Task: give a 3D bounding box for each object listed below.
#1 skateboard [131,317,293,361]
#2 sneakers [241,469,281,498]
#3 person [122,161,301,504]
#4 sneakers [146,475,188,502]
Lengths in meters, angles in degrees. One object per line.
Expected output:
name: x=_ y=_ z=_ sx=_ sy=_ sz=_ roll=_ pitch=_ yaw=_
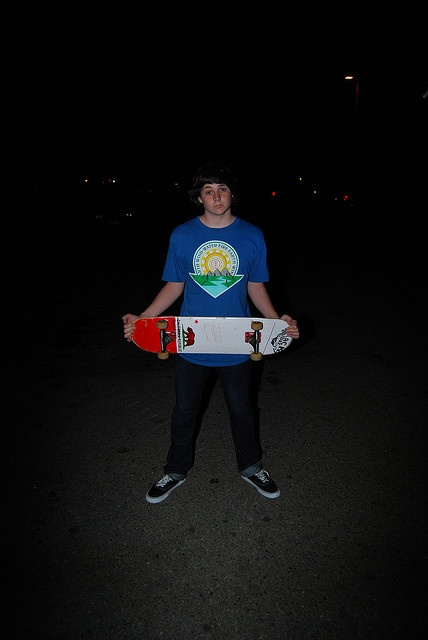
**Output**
skateboard: x=-0.002 y=0.088 z=2.707 sx=0.839 sy=0.243 sz=0.120 roll=2 pitch=19 yaw=-2
sneakers: x=0.277 y=0.970 z=3.002 sx=0.115 sy=0.107 sz=0.283 roll=-45 pitch=33 yaw=-9
person: x=0.003 y=0.236 z=2.856 sx=0.868 sy=2.083 sz=0.900 roll=-1 pitch=34 yaw=-1
sneakers: x=-0.289 y=1.016 z=2.967 sx=0.099 sy=0.099 sz=0.269 roll=42 pitch=40 yaw=18
